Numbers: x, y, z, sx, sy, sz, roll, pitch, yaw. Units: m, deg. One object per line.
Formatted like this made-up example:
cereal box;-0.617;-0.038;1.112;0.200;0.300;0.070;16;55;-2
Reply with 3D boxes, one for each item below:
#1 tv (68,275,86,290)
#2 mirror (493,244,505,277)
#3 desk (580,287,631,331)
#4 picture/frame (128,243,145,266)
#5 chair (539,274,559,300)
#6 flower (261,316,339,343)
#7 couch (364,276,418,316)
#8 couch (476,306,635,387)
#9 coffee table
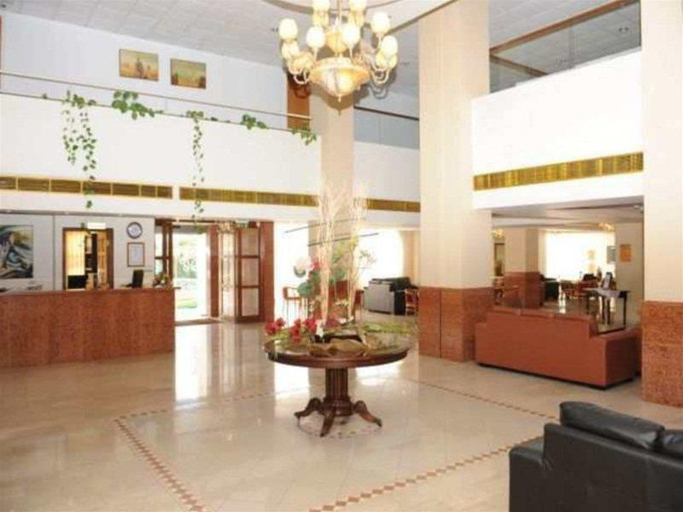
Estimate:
tv;-5.932;0.571;11.209;0.475;0.361;0.251;1;-3;-43
mirror;6.719;0.123;21.290;0.467;1.363;0.242;-2;1;-17
desk;6.822;1.338;12.738;0.611;0.850;0.850;-4;5;-23
picture/frame;-4.921;-0.055;11.927;0.508;0.757;0.051;-1;0;-33
chair;8.074;1.158;19.432;0.840;0.990;0.936;-2;2;-7
flower;-0.442;0.861;5.847;0.850;0.220;0.319;-2;1;2
couch;1.706;1.247;15.413;1.025;0.787;1.471;-1;1;-26
couch;3.377;1.412;8.280;0.939;1.085;2.169;-1;1;-44
coffee table;-0.025;1.406;5.795;1.169;0.681;1.191;-2;-1;43
